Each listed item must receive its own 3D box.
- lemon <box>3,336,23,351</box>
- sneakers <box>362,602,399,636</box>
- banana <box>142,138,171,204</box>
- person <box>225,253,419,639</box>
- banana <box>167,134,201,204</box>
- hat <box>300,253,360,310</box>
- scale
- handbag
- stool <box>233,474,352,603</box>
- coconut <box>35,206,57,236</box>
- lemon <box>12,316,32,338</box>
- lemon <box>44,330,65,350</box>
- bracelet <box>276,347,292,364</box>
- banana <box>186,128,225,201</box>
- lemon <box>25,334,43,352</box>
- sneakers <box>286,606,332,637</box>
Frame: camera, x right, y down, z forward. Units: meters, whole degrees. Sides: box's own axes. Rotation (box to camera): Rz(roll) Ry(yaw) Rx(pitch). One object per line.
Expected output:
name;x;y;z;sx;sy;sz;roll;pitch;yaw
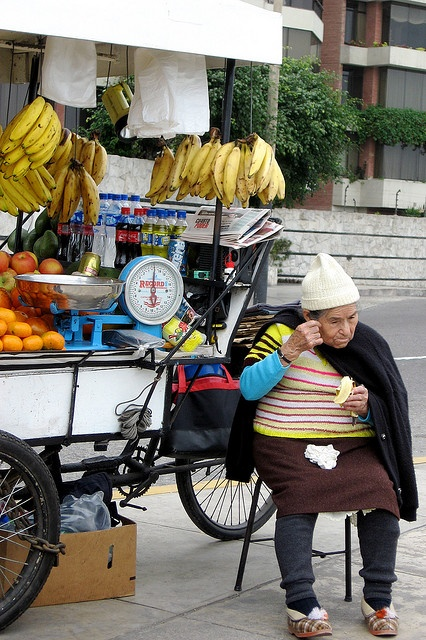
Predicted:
lemon;-0.686;0.077;2.123;0.065;0.060;0.072;3;-5;-12
sneakers;0.582;1.032;2.165;0.061;0.063;0.159;0;-3;-5
banana;-0.281;-0.802;3.436;0.113;0.436;0.165;9;-6;10
person;0.386;0.425;2.339;0.650;1.323;0.677;1;2;15
banana;-0.168;-0.776;3.222;0.139;0.366;0.106;25;-5;31
hat;0.434;-0.160;2.313;0.211;0.213;0.199;-6;10;-38
scale;-0.391;-0.062;2.404;0.609;0.366;0.484;3;4;0
handbag;-0.061;0.391;2.650;0.469;0.448;0.207;2;-3;-32
stool;0.354;0.949;2.882;0.548;0.796;0.481;0;-2;12
coconut;-0.942;-0.551;3.514;0.095;0.168;0.066;7;-7;-18
lemon;-0.678;0.022;2.217;0.065;0.044;0.046;20;23;-23
lemon;-0.562;0.073;2.193;0.079;0.071;0.059;5;-7;-27
bracelet;0.252;0.120;2.189;0.023;0.049;0.043;-7;-13;37
banana;-0.039;-0.765;2.999;0.108;0.349;0.120;46;37;20
lemon;-0.628;0.080;2.167;0.058;0.052;0.052;-24;17;-34
sneakers;0.315;0.996;2.060;0.152;0.122;0.131;1;-5;12
